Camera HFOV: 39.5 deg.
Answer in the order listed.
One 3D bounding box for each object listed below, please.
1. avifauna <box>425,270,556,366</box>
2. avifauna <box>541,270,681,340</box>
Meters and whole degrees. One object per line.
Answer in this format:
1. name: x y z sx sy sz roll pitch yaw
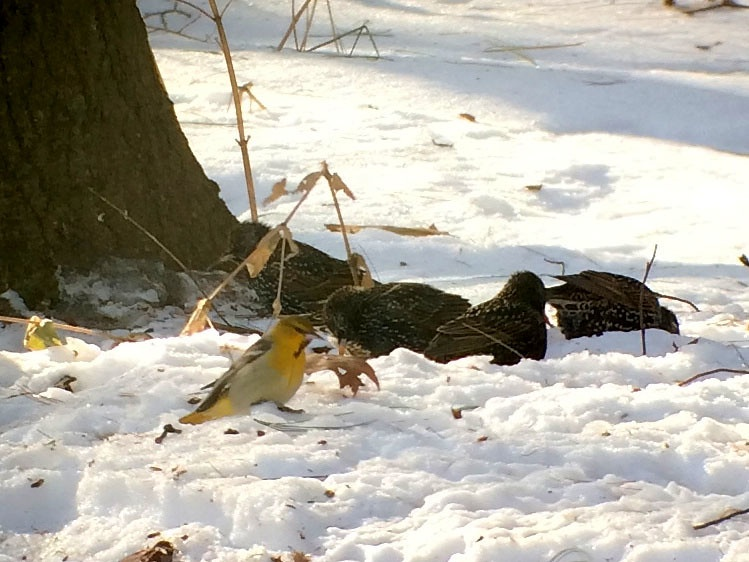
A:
1. avifauna: 0.852 0.290 7.432 0.701 0.549 0.930 9 21 22
2. avifauna: 1.776 0.161 7.849 0.856 0.229 0.593 6 9 8
